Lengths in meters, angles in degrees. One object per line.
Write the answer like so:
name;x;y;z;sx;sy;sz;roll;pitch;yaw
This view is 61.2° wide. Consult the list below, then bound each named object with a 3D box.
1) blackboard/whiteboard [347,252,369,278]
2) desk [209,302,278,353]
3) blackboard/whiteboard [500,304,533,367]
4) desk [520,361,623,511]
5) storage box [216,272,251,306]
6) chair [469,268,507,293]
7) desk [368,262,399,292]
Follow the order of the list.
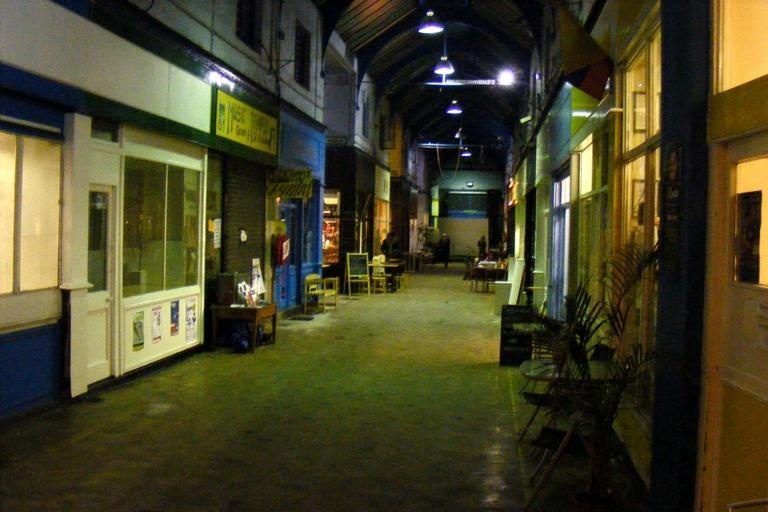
blackboard/whiteboard;-0.822;0.288;19.280;0.702;1.069;0.592;0;-4;-7
desk;-2.475;1.196;11.548;0.769;0.811;1.143;1;1;8
blackboard/whiteboard;2.072;1.243;10.151;0.501;0.971;0.351;2;5;14
desk;1.888;1.633;6.346;0.795;1.391;1.433;3;6;15
storage box;-2.690;0.584;11.530;0.589;0.535;0.633;-3;-3;37
chair;3.300;0.805;21.284;0.717;1.020;0.865;2;-7;-7
desk;0.053;0.701;20.519;0.801;0.587;0.845;3;9;21
